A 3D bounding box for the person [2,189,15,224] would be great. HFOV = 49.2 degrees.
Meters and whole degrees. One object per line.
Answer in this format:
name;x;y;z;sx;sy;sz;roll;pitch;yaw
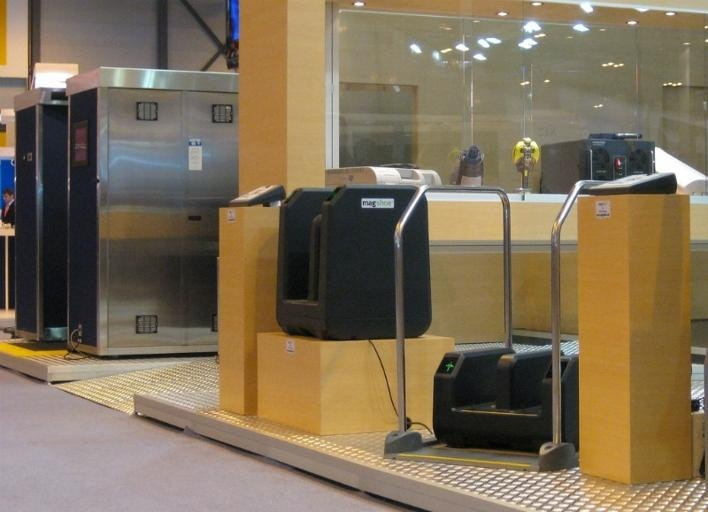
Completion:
person;-5.936;-0.828;13.196;0.207;0.469;1.472;-8;5;-22
